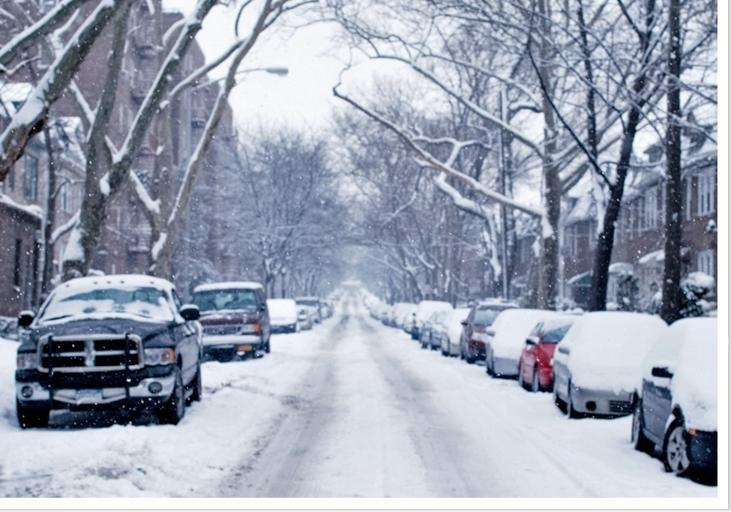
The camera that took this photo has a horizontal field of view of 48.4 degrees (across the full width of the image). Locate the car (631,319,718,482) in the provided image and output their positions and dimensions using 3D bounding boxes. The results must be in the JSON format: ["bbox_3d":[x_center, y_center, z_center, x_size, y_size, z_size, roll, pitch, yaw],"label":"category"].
[{"bbox_3d":[4.879,2.139,12.515,0.647,2.278,1.884,0,3,-7],"label":"car"}]

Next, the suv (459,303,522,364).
[{"bbox_3d":[3.747,2.406,26.085,1.214,1.272,2.182,0,-12,2],"label":"suv"}]

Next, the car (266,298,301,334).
[{"bbox_3d":[-4.066,3.011,40.030,1.338,1.728,1.770,1,2,-3],"label":"car"}]

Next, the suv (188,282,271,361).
[{"bbox_3d":[-4.076,1.989,25.182,1.588,1.589,2.781,-1,-8,-3],"label":"suv"}]

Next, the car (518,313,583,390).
[{"bbox_3d":[4.142,2.268,19.014,1.017,0.920,1.849,-1,-11,5],"label":"car"}]

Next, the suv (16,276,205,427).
[{"bbox_3d":[-4.648,1.677,15.185,1.925,1.710,3.646,-1,-10,-5],"label":"suv"}]
